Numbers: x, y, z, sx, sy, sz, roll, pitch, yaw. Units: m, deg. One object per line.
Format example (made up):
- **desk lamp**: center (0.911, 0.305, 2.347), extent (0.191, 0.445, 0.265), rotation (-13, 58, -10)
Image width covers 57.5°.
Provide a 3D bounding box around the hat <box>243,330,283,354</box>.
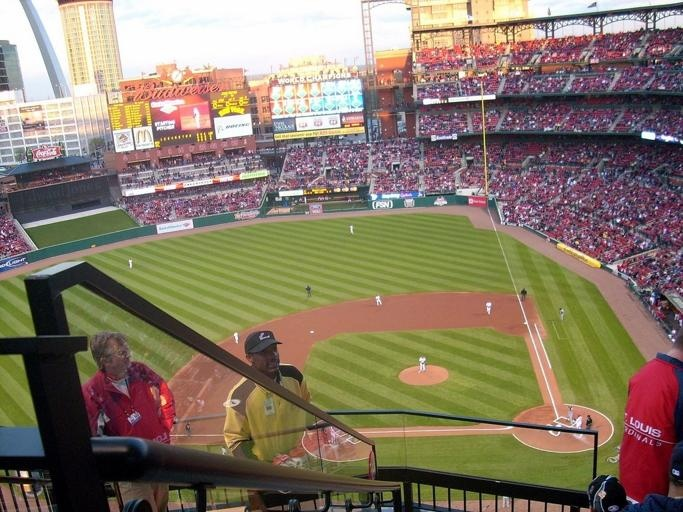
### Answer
- **hat**: center (-0.569, 0.599, 4.270), extent (0.177, 0.092, 0.244), rotation (-8, -1, -39)
